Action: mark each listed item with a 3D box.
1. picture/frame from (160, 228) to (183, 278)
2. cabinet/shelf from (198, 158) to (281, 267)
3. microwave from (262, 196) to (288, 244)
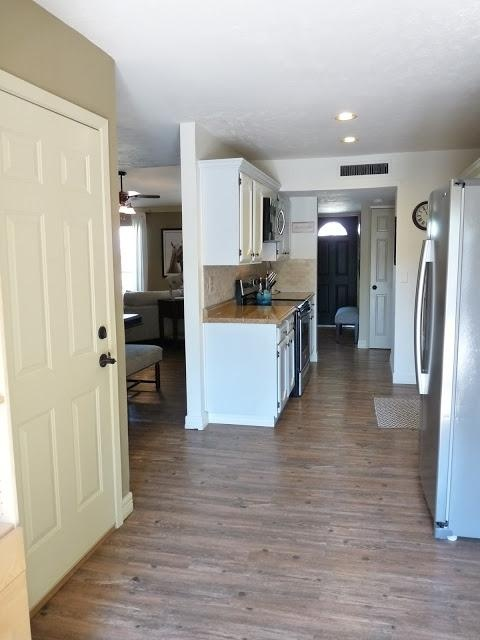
[{"bbox_3d":[-1.468,-1.469,11.319,0.026,1.097,0.780,5,14,30],"label":"picture/frame"},{"bbox_3d":[-0.044,-0.887,4.343,0.359,0.823,1.074,1,6,14],"label":"cabinet/shelf"},{"bbox_3d":[0.277,-1.036,5.333,0.297,0.497,0.550,0,11,-5],"label":"microwave"}]
